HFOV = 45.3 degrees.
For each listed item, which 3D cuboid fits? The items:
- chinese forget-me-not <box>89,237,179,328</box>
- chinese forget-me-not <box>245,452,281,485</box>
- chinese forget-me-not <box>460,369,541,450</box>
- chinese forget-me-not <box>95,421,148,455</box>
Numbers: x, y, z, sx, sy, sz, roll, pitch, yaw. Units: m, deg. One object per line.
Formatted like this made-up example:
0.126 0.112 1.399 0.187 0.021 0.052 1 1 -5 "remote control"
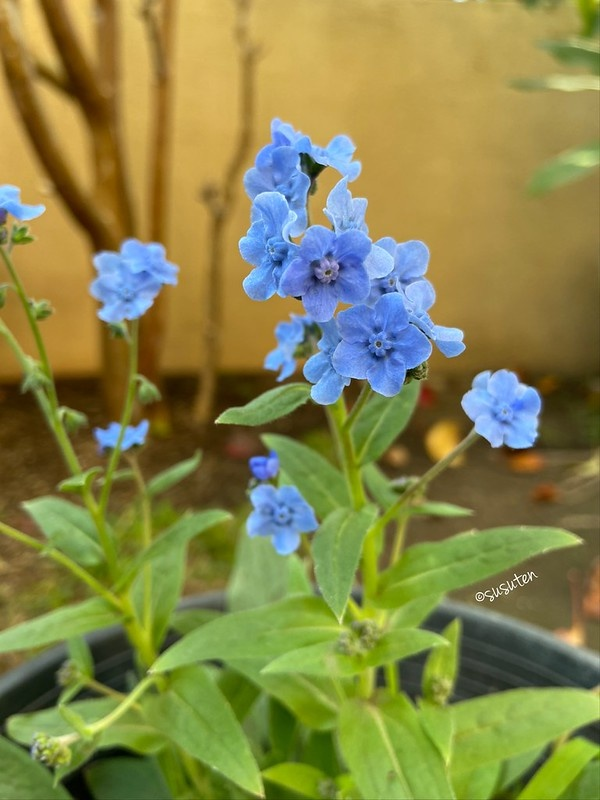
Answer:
-0.121 -0.089 0.529 0.067 0.057 0.024 -13 17 -38 "chinese forget-me-not"
-0.032 0.062 0.649 0.027 0.019 0.031 -3 2 6 "chinese forget-me-not"
0.158 0.009 0.566 0.061 0.018 0.059 32 63 7 "chinese forget-me-not"
-0.161 0.028 0.644 0.037 0.013 0.039 9 15 29 "chinese forget-me-not"
